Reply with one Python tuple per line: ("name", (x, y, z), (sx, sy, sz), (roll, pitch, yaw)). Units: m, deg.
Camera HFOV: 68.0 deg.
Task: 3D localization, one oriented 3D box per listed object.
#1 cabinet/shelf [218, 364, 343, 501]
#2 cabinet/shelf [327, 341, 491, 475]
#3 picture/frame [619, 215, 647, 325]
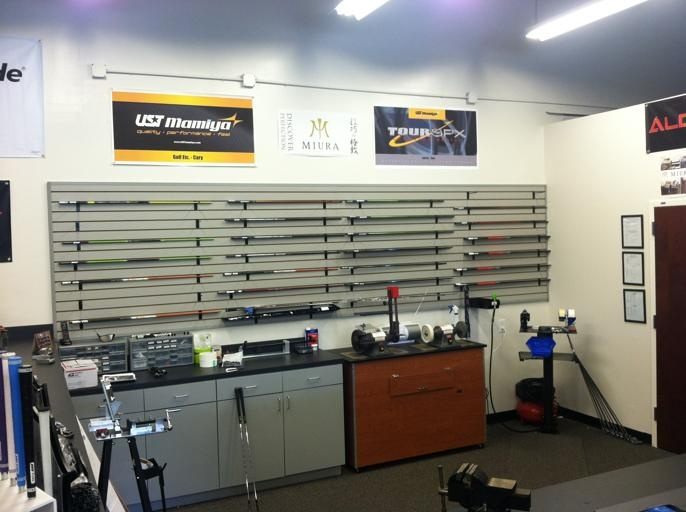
("cabinet/shelf", (-0.605, 1.491, 4.572), (1.207, 0.992, 0.449), (-1, -8, -25))
("cabinet/shelf", (0.903, 1.508, 5.001), (1.411, 0.961, 0.534), (-19, -33, 32))
("picture/frame", (2.951, 0.126, 5.109), (0.078, 1.086, 0.301), (-4, 6, -20))
